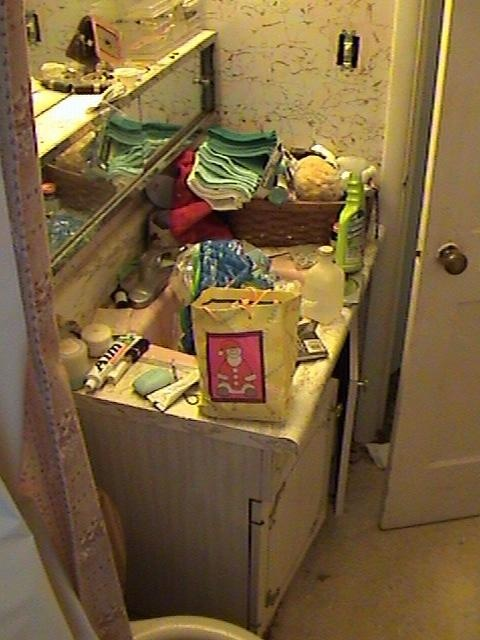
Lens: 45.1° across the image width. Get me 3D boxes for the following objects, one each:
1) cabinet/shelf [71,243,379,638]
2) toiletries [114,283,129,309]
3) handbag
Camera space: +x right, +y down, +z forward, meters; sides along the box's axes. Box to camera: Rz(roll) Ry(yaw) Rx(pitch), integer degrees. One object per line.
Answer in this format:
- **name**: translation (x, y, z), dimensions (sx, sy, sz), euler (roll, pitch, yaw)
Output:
- **cabinet/shelf**: translation (-0.101, 0.391, 1.760), dimensions (0.763, 1.041, 0.733), euler (9, 35, 17)
- **toiletries**: translation (-0.317, -0.062, 1.529), dimensions (0.037, 0.042, 0.056), euler (-12, 37, -8)
- **handbag**: translation (0.017, 0.071, 1.142), dimensions (0.208, 0.285, 0.113), euler (-3, 30, -4)
